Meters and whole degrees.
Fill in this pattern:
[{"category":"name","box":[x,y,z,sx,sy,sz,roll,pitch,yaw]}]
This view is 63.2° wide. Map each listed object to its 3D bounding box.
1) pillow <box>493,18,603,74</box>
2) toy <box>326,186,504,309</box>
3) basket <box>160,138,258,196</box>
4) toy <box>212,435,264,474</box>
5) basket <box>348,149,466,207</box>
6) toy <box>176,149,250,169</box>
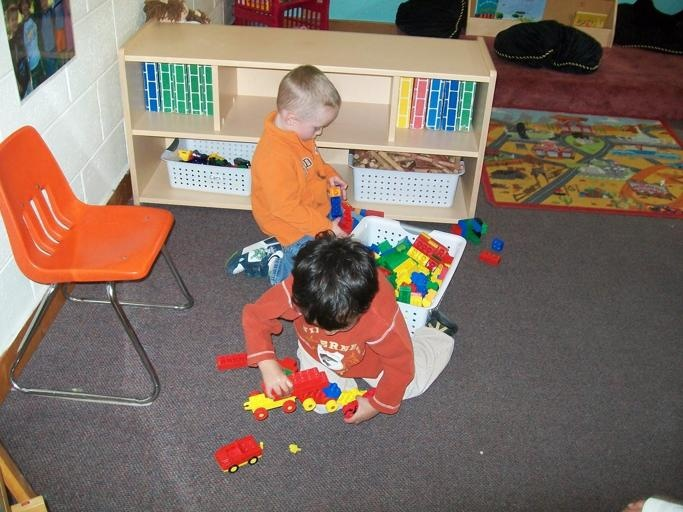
[{"category":"pillow","box":[1.772,-1.709,4.719,0.711,0.251,0.504,7,43,8]},{"category":"toy","box":[0.310,-0.005,2.509,0.494,0.217,0.664,22,38,-1]},{"category":"basket","box":[-0.738,-0.482,3.172,0.509,0.172,0.317,6,38,0]},{"category":"toy","box":[-0.369,0.700,1.969,0.158,0.053,0.103,-19,54,-23]},{"category":"basket","box":[0.340,-0.420,3.003,0.515,0.178,0.328,4,32,3]},{"category":"toy","box":[-0.718,-0.534,3.066,0.281,0.088,0.179,6,23,5]}]
